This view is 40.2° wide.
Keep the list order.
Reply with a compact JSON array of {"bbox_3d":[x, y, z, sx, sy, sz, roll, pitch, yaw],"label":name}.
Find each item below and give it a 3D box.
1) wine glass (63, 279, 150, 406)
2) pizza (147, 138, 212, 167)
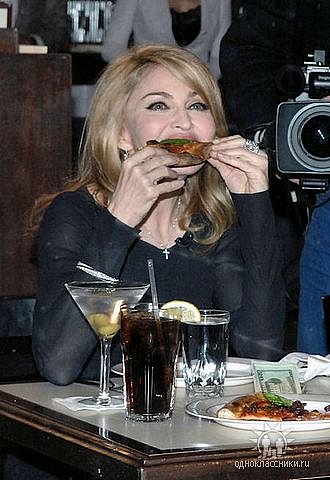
[{"bbox_3d":[-0.091,0.175,0.759,0.164,0.184,0.162,-2,-20,34],"label":"wine glass"},{"bbox_3d":[0.053,-0.271,1.366,0.162,0.036,0.100,-5,39,-14],"label":"pizza"}]
